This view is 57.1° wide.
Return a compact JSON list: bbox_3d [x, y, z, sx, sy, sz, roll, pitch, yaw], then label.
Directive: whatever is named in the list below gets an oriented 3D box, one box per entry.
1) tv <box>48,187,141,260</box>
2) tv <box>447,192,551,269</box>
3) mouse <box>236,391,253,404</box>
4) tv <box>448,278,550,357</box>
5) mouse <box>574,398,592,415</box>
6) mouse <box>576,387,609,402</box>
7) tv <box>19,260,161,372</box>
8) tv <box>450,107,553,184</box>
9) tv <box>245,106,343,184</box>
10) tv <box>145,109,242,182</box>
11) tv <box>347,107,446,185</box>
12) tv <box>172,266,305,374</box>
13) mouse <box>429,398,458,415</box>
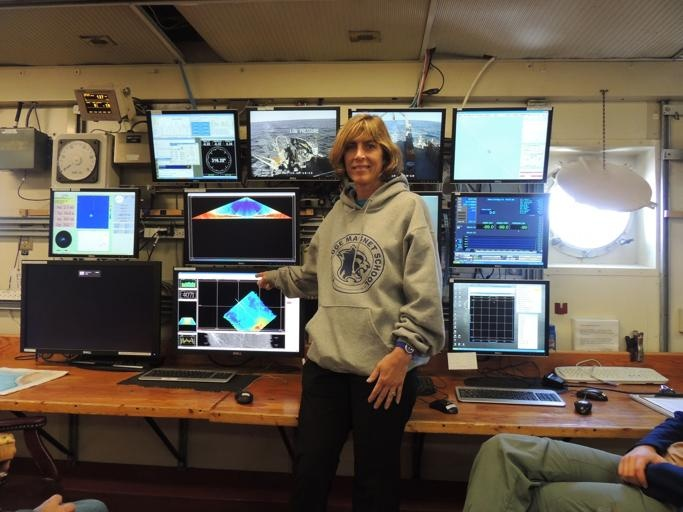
[{"bbox_3d":[-1.510,-0.214,3.891,0.686,0.454,0.063,1,-1,20],"label":"tv"},{"bbox_3d":[0.934,-0.159,3.677,0.516,0.351,0.051,0,0,6],"label":"tv"},{"bbox_3d":[-0.509,0.747,3.312,0.092,0.052,0.077,1,3,-6],"label":"mouse"},{"bbox_3d":[0.907,0.357,3.667,0.708,0.448,0.065,5,-7,-24],"label":"tv"},{"bbox_3d":[1.252,0.778,3.239,0.080,0.052,0.076,-1,-3,18],"label":"mouse"},{"bbox_3d":[1.370,0.752,3.428,0.126,0.036,0.068,-1,0,11],"label":"mouse"},{"bbox_3d":[-1.517,0.328,3.834,1.006,0.614,0.087,-1,-1,17],"label":"tv"},{"bbox_3d":[0.927,-0.652,3.675,0.707,0.444,0.059,-6,17,-24],"label":"tv"},{"bbox_3d":[-0.276,-0.677,3.788,0.683,0.439,0.054,7,13,32],"label":"tv"},{"bbox_3d":[-0.885,-0.667,3.853,0.669,0.446,0.060,6,16,24],"label":"tv"},{"bbox_3d":[0.298,-0.607,3.389,0.608,0.386,0.025,0,0,-1],"label":"tv"},{"bbox_3d":[-0.602,0.354,3.710,0.751,0.476,0.092,0,2,1],"label":"tv"},{"bbox_3d":[0.549,0.781,3.265,0.115,0.031,0.066,0,3,43],"label":"mouse"}]
